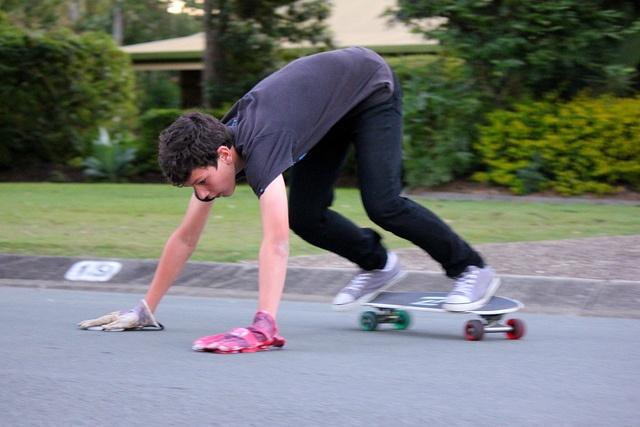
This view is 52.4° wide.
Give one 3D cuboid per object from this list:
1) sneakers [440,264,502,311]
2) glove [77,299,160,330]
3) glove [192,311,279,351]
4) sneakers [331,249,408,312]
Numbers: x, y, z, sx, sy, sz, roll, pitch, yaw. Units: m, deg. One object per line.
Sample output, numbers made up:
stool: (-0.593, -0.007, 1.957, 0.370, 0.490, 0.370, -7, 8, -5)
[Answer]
sneakers: (1.048, 0.480, 4.401, 0.214, 0.169, 0.493, 5, 27, 44)
glove: (-1.357, 0.692, 4.443, 0.535, 0.146, 0.230, 2, 1, -5)
glove: (-0.480, 0.720, 3.937, 0.519, 0.148, 0.259, 1, 2, -24)
sneakers: (0.345, 0.462, 4.754, 0.793, 0.253, 0.238, -22, 18, -15)
